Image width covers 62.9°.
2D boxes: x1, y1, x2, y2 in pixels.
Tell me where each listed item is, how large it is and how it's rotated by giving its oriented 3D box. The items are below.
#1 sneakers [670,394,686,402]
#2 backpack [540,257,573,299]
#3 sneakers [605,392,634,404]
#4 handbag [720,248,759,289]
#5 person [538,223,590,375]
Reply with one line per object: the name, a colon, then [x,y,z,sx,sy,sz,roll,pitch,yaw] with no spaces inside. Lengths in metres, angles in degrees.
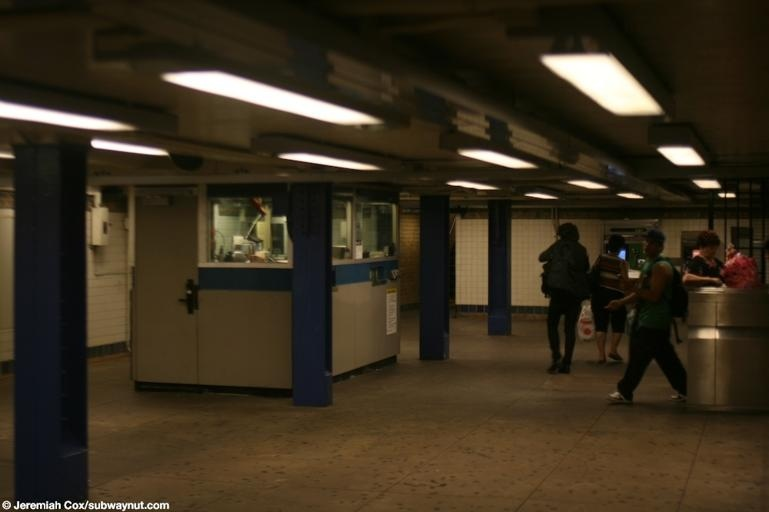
sneakers: [4.342,2.088,9.283,0.210,0.076,0.071,-4,7,-25]
backpack: [3.096,0.423,11.497,0.279,0.644,0.632,0,2,10]
sneakers: [3.370,2.035,9.071,0.394,0.177,0.162,6,0,10]
handbag: [5.169,0.170,9.224,0.540,0.500,0.498,-10,9,-5]
person: [3.260,0.739,11.396,0.827,2.726,0.529,0,-4,12]
